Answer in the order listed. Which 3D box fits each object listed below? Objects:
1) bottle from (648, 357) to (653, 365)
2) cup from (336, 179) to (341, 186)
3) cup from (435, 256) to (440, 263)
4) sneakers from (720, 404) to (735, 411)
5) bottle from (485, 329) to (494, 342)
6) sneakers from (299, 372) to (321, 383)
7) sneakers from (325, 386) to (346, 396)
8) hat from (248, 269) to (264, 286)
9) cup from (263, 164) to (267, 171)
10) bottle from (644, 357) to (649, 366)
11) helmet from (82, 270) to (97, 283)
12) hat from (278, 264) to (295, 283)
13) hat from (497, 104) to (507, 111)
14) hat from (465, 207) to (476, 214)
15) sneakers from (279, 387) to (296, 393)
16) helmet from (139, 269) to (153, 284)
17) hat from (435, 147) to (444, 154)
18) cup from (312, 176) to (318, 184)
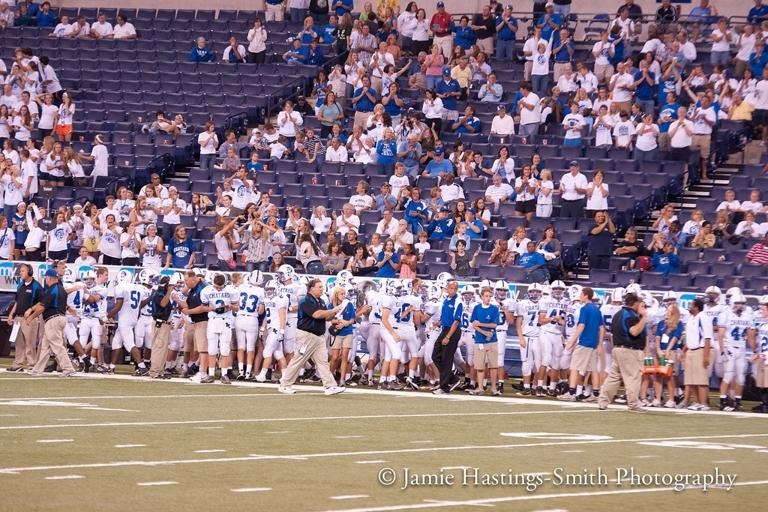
[{"bbox_3d":[5.552,2.185,27.891,0.135,0.139,0.136,-2,-3,26],"label":"bottle"},{"bbox_3d":[-1.232,-1.985,35.937,0.131,0.123,0.130,0,-2,0],"label":"cup"},{"bbox_3d":[1.328,0.063,32.909,0.125,0.123,0.113,-1,-5,12],"label":"cup"},{"bbox_3d":[7.284,3.196,28.269,0.248,0.131,0.189,1,-7,13],"label":"sneakers"},{"bbox_3d":[2.308,1.722,29.068,0.122,0.223,0.231,0,-8,27],"label":"bottle"},{"bbox_3d":[-1.702,2.745,30.451,0.552,0.233,0.199,7,-6,-22],"label":"sneakers"},{"bbox_3d":[-1.043,2.840,28.185,0.460,0.196,0.169,-5,3,12],"label":"sneakers"},{"bbox_3d":[-2.905,0.507,30.422,0.247,0.343,0.181,9,-45,-13],"label":"hat"},{"bbox_3d":[-3.270,-2.446,36.740,0.158,0.177,0.157,0,-4,0],"label":"cup"},{"bbox_3d":[5.472,2.194,27.869,0.131,0.137,0.130,-1,3,-22],"label":"bottle"},{"bbox_3d":[-6.811,0.467,30.777,0.287,0.360,0.304,5,-7,-14],"label":"helmet"},{"bbox_3d":[-2.203,0.386,30.030,0.398,0.400,0.317,4,-7,-5],"label":"hat"},{"bbox_3d":[3.299,-4.158,37.372,0.177,0.153,0.299,-1,1,4],"label":"hat"},{"bbox_3d":[2.196,-1.145,33.624,0.230,0.196,0.412,3,-7,2],"label":"hat"},{"bbox_3d":[-2.050,2.806,28.236,0.335,0.147,0.132,4,12,3],"label":"sneakers"},{"bbox_3d":[-5.428,0.448,30.356,0.292,0.340,0.134,0,-8,23],"label":"helmet"},{"bbox_3d":[1.481,-2.830,35.813,0.227,0.213,0.334,3,-7,2],"label":"hat"},{"bbox_3d":[-1.856,-2.055,36.088,0.166,0.159,0.166,1,8,0],"label":"cup"}]
